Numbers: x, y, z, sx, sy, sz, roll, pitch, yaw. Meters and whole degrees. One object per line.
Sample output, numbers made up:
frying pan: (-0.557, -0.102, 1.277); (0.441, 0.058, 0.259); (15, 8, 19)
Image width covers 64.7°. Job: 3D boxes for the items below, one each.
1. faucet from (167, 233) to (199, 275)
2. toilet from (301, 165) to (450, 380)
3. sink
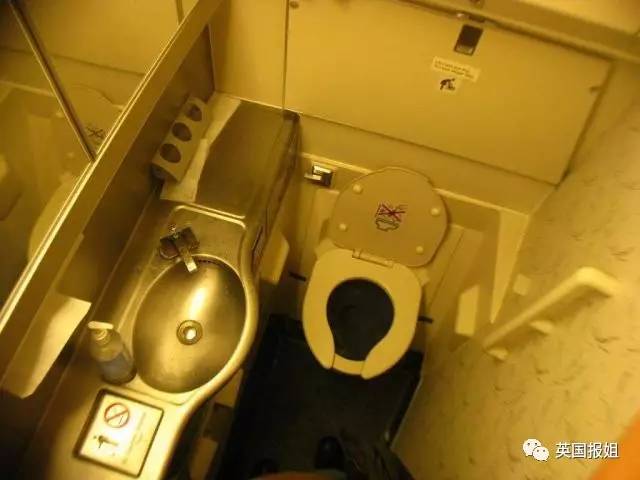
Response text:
faucet: (-0.439, 0.037, 1.631); (0.043, 0.041, 0.182); (-23, 74, -8)
toilet: (0.227, 0.060, 2.183); (0.479, 0.611, 0.927); (20, 86, 4)
sink: (-0.416, 0.260, 1.592); (0.326, 0.120, 0.386); (0, 60, -12)
